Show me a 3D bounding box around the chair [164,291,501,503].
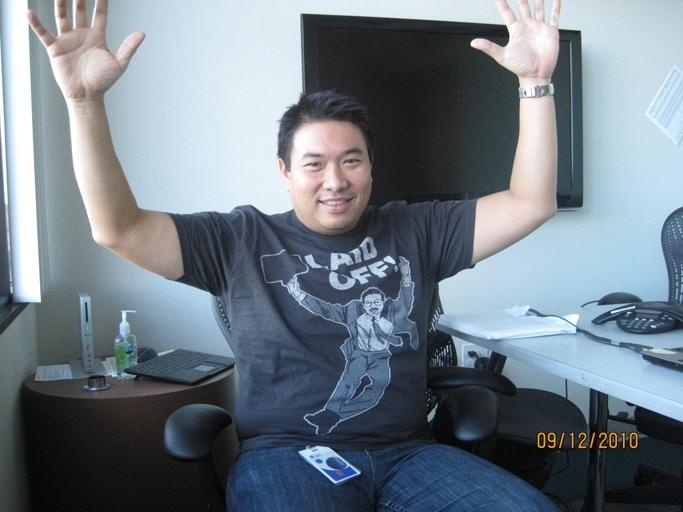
[{"bbox_3d":[0.038,0.388,1.909,1.236,0.521,0.782,-5,7,-20],"label":"chair"}]
